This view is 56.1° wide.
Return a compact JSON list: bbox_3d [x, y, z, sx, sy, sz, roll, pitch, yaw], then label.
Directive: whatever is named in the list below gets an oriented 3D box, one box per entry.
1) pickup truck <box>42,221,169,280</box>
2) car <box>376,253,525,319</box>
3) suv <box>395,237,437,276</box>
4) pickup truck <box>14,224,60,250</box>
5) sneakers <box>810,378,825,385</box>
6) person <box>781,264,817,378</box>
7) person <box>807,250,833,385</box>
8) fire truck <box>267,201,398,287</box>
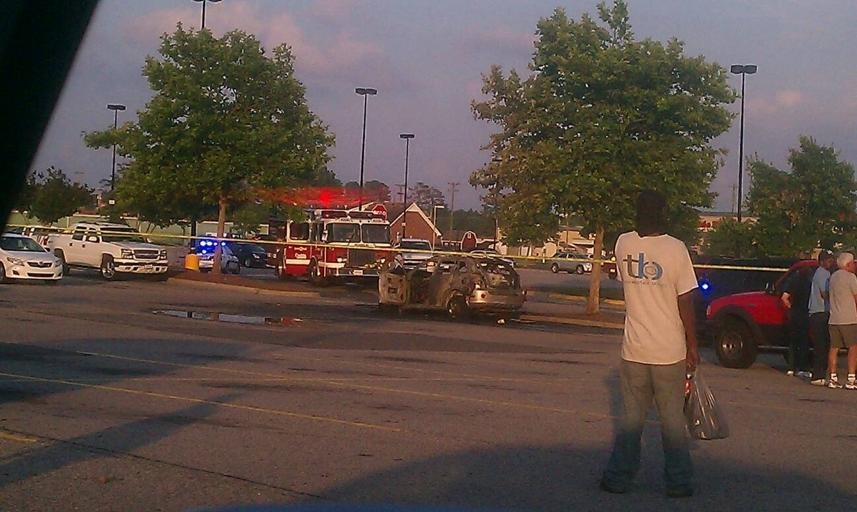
[{"bbox_3d":[-14.196,-0.316,35.438,5.760,2.115,2.832,6,7,39],"label":"pickup truck"},{"bbox_3d":[0.675,0.931,26.809,3.583,1.827,5.558,5,-2,-38],"label":"car"},{"bbox_3d":[-0.544,-0.020,34.203,1.642,1.324,3.491,0,-1,-3],"label":"suv"},{"bbox_3d":[-17.102,-0.854,35.192,1.190,0.825,1.975,2,7,-19],"label":"pickup truck"},{"bbox_3d":[8.046,2.573,16.576,0.262,0.111,0.178,3,-1,9],"label":"sneakers"},{"bbox_3d":[7.993,1.364,17.485,0.716,2.466,0.608,-1,0,-32],"label":"person"},{"bbox_3d":[8.202,1.283,16.679,0.581,2.570,0.514,-3,-1,-31],"label":"person"},{"bbox_3d":[-4.833,-0.563,38.289,3.636,3.106,7.255,0,2,-35],"label":"fire truck"}]
